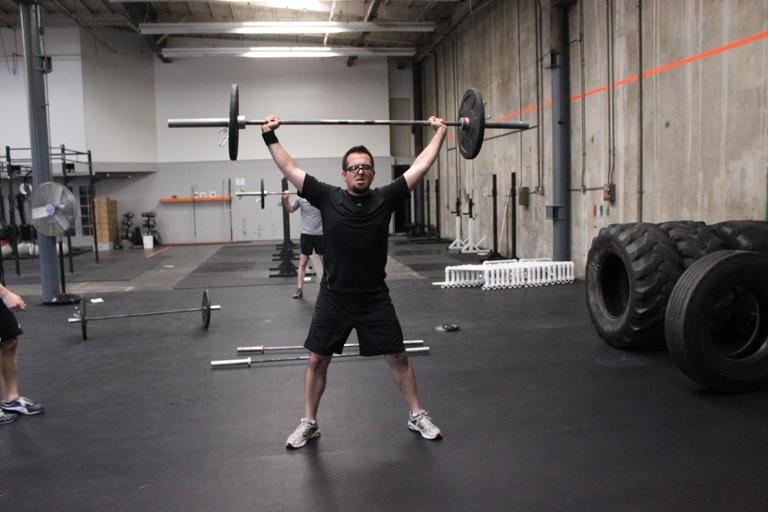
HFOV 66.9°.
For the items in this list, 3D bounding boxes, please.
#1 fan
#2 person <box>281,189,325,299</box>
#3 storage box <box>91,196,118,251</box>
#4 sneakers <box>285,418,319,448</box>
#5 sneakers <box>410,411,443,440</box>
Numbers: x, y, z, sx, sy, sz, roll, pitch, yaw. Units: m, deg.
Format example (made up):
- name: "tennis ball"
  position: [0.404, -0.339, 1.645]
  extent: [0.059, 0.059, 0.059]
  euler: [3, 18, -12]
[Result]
- name: "fan"
  position: [-4.517, -0.204, 7.983]
  extent: [0.670, 1.653, 0.485]
  euler: [-9, 2, -30]
- name: "person"
  position: [-1.161, -0.295, 8.248]
  extent: [0.620, 2.301, 0.737]
  euler: [4, 30, 3]
- name: "storage box"
  position: [-7.809, -0.855, 16.152]
  extent: [0.487, 1.488, 1.559]
  euler: [-1, 2, -10]
- name: "sneakers"
  position: [-0.595, 1.315, 4.374]
  extent: [0.121, 0.141, 0.293]
  euler: [0, 3, 34]
- name: "sneakers"
  position: [0.311, 1.271, 4.405]
  extent: [0.136, 0.127, 0.264]
  euler: [-4, 4, -39]
